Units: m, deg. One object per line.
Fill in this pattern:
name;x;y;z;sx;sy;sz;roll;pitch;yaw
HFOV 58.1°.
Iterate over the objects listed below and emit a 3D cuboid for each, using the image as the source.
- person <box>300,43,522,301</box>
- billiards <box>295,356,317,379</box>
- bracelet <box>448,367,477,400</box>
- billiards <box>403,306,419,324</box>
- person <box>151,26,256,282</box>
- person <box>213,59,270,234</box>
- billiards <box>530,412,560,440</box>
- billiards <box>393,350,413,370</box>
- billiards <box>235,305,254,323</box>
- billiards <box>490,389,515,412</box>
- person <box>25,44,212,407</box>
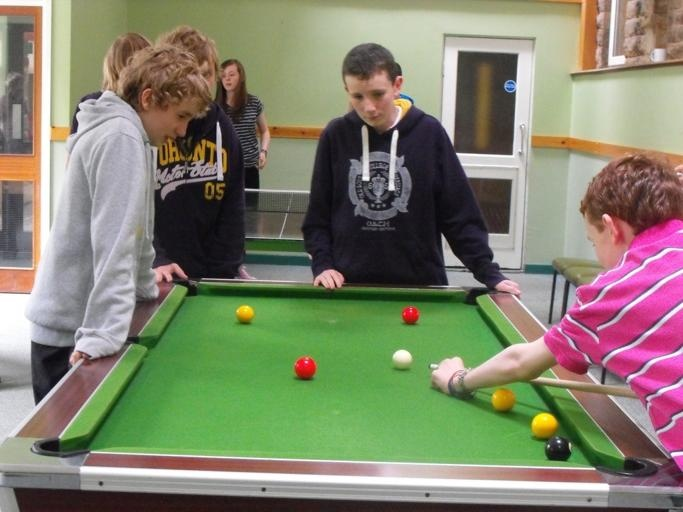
person;0.243;-0.264;2.832;0.824;1.252;0.637;3;15;-5
billiards;-0.112;0.342;1.902;0.061;0.074;0.063;-3;14;-11
bracelet;0.353;0.382;1.799;0.072;0.084;0.065;13;41;5
billiards;0.264;0.231;2.348;0.060;0.069;0.061;1;10;2
person;-0.640;-0.420;2.751;0.389;1.139;0.507;1;3;-3
person;-1.018;-0.918;6.249;0.613;2.063;0.599;-1;21;0
billiards;0.519;0.437;1.566;0.061;0.064;0.061;-6;24;9
billiards;0.194;0.324;1.969;0.057;0.059;0.057;0;26;-7
billiards;-0.367;0.213;2.324;0.061;0.063;0.062;-1;15;-19
billiards;0.449;0.403;1.701;0.058;0.060;0.056;6;16;-36
person;-0.720;0.014;1.983;0.485;1.302;0.472;-6;19;-27
